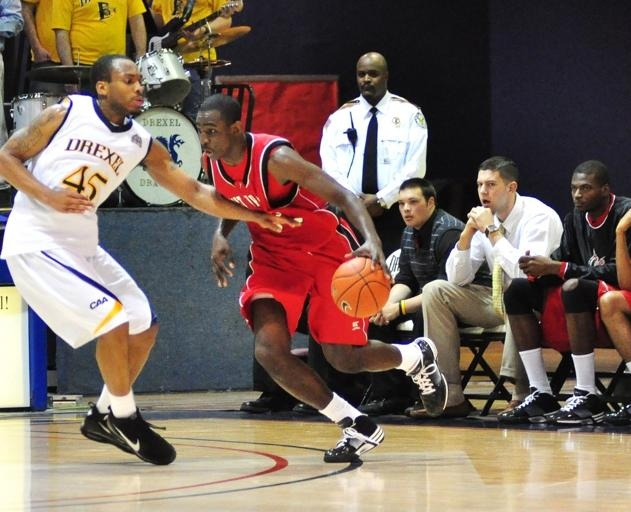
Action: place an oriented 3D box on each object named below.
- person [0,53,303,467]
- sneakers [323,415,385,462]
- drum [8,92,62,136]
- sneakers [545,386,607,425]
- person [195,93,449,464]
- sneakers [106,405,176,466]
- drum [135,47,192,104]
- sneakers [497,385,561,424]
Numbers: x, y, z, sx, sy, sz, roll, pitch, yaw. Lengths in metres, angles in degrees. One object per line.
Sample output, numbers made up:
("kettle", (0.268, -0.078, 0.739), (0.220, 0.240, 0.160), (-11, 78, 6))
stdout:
("person", (-0.900, -0.010, 3.296), (0.868, 1.673, 0.687), (8, 17, 11))
("sneakers", (0.147, 0.789, 3.194), (0.261, 0.195, 0.152), (-10, 22, -43))
("drum", (-2.183, -1.116, 5.922), (0.384, 0.323, 0.360), (-8, 25, -30))
("sneakers", (1.410, 0.816, 4.079), (0.447, 0.191, 0.152), (1, 1, -38))
("person", (0.082, 0.118, 3.369), (1.174, 1.575, 0.920), (-1, 4, -4))
("sneakers", (-0.730, 0.753, 3.222), (0.438, 0.140, 0.157), (15, 28, 37))
("drum", (-1.194, -1.475, 5.950), (0.270, 0.187, 0.268), (-21, 25, 10))
("sneakers", (1.205, 0.843, 4.274), (0.457, 0.179, 0.140), (0, -2, -19))
